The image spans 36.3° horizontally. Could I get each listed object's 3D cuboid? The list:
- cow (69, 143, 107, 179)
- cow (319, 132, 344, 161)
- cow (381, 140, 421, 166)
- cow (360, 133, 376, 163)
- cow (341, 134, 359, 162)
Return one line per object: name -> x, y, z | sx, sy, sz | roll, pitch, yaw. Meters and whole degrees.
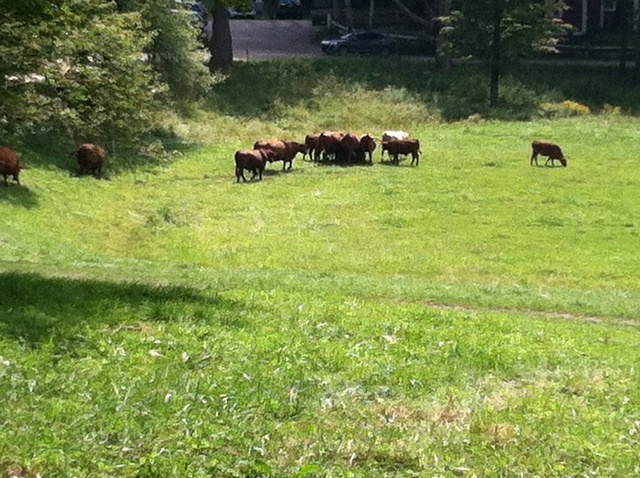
cow -> -13.078, -4.444, 54.933 | 1.647, 1.981, 1.681 | -4, 14, -16
cow -> 0.532, -6.188, 64.365 | 0.934, 1.509, 2.522 | 15, 30, 27
cow -> 5.430, -5.758, 63.636 | 2.403, 1.688, 1.661 | 6, 15, 22
cow -> 3.079, -5.972, 63.906 | 0.985, 2.057, 1.663 | 0, 13, 1
cow -> 1.914, -6.031, 64.210 | 1.224, 1.934, 1.196 | -3, 13, -11
